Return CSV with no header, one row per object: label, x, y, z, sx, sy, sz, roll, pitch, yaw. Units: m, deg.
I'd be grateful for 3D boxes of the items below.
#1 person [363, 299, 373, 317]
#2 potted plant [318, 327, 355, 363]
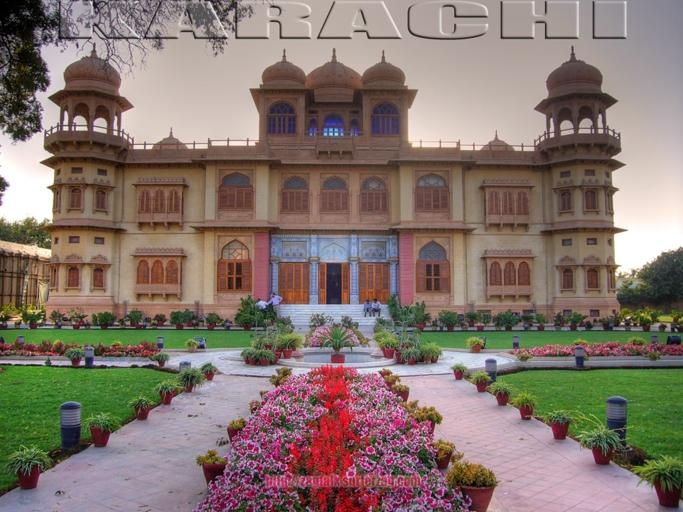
person,1.443,2.743,36.839,0.477,0.618,0.710,4,3,2
potted plant,-0.089,2.741,22.022,1.061,1.146,1.091,3,1,44
